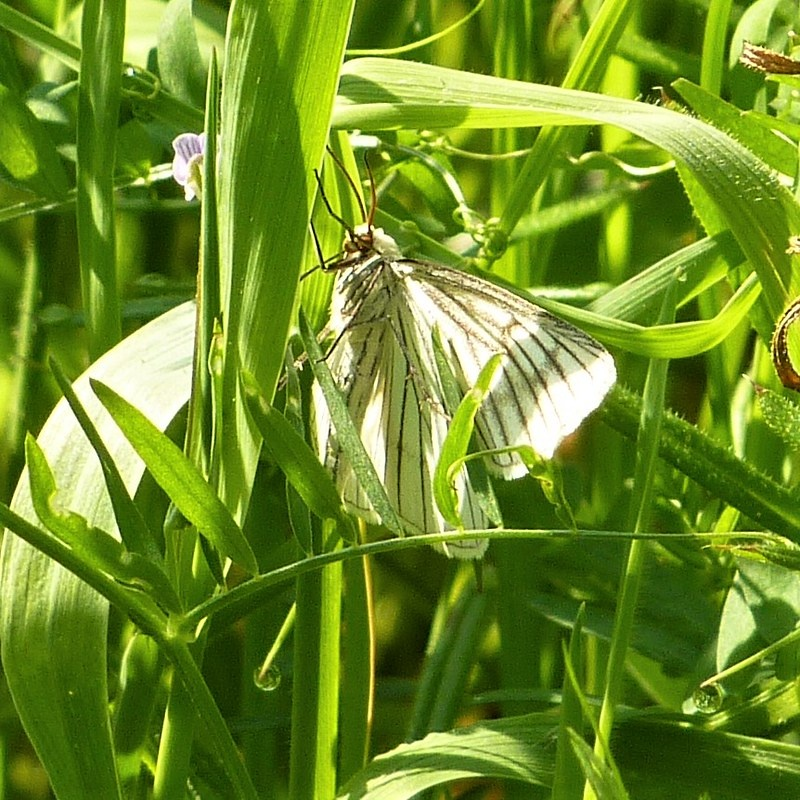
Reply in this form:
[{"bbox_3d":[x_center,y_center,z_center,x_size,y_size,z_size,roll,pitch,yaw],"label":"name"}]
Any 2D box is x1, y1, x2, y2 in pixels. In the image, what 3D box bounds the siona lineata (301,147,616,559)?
[{"bbox_3d":[0.082,-0.025,0.981,0.160,0.343,0.297,-15,15,-24],"label":"siona lineata"}]
